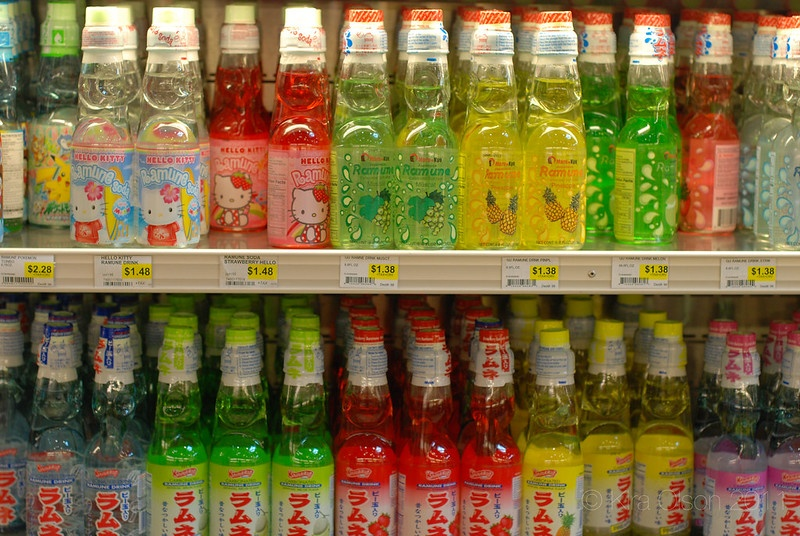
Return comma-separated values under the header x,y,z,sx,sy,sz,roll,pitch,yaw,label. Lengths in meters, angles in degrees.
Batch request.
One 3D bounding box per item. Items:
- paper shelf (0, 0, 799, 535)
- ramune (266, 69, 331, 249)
x,y,z,sx,sy,sz,roll,pitch,yaw,label
-0.002,0.024,1.667,1.452,1.347,0.353,0,3,-2,paper shelf
-0.239,-0.257,1.617,0.150,0.419,0.135,-3,5,-8,ramune
